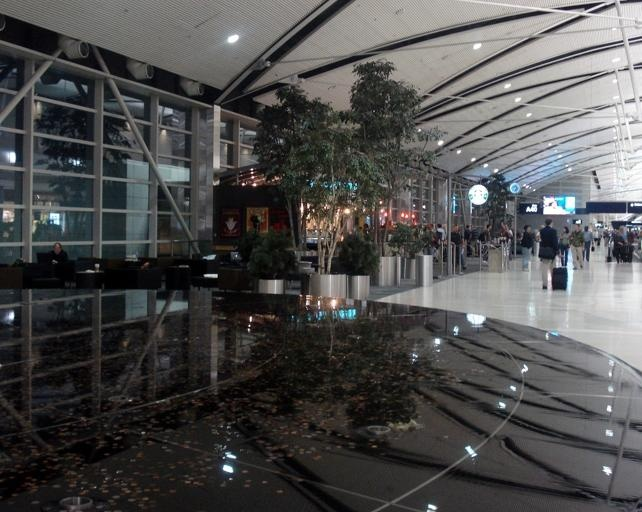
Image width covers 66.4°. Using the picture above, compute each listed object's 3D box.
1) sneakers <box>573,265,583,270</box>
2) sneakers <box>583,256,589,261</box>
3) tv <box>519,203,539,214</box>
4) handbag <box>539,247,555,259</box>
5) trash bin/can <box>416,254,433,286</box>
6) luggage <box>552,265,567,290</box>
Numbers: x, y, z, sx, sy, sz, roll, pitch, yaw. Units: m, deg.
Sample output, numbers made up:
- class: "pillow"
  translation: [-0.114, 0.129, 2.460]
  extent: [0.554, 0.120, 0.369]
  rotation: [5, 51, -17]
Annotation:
- class: "sneakers"
  translation: [12.053, 0.533, 22.829]
  extent: [0.409, 0.315, 0.140]
  rotation: [-3, 2, 29]
- class: "sneakers"
  translation: [15.673, 0.140, 28.721]
  extent: [0.242, 0.440, 0.285]
  rotation: [2, -4, 4]
- class: "tv"
  translation: [21.204, -4.863, 49.818]
  extent: [1.993, 1.124, 1.352]
  rotation: [-1, -3, 10]
- class: "handbag"
  translation: [6.659, -0.072, 14.300]
  extent: [0.522, 0.406, 0.308]
  rotation: [1, -23, 20]
- class: "trash bin/can"
  translation: [3.257, 0.449, 15.315]
  extent: [0.492, 0.953, 0.439]
  rotation: [1, 1, 1]
- class: "luggage"
  translation: [6.621, 0.623, 13.474]
  extent: [0.374, 0.610, 0.612]
  rotation: [1, 2, 25]
